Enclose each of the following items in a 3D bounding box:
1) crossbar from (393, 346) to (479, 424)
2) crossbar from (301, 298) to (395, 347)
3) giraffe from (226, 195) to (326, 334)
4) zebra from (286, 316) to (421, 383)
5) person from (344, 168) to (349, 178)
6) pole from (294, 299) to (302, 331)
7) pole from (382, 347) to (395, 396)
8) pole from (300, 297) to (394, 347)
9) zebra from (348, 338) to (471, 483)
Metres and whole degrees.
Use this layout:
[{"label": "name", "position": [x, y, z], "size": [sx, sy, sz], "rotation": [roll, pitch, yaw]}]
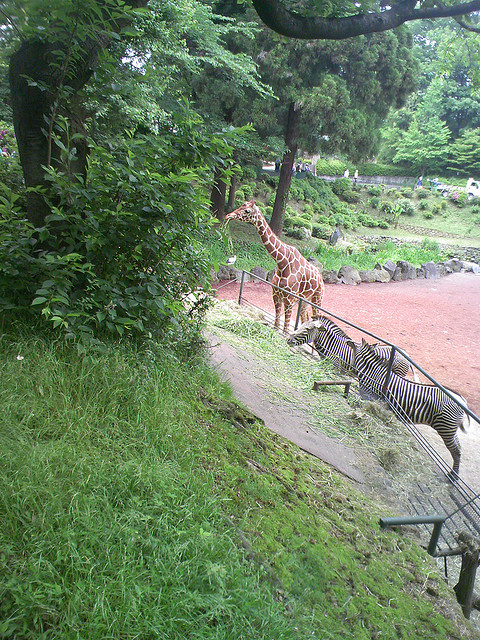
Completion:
[{"label": "crossbar", "position": [2.441, 0.819, 6.346], "size": [1.647, 0.158, 0.078], "rotation": [42, -38, -19]}, {"label": "crossbar", "position": [1.797, 0.045, 8.475], "size": [0.071, 0.069, 1.898], "rotation": [-35, 47, -22]}, {"label": "giraffe", "position": [0.644, -0.829, 8.246], "size": [1.483, 1.965, 3.247], "rotation": [10, 11, 6]}, {"label": "zebra", "position": [1.375, 0.521, 6.104], "size": [1.749, 0.956, 0.363], "rotation": [9, 8, -5]}, {"label": "person", "position": [7.993, -11.215, 38.591], "size": [0.228, 0.697, 1.224], "rotation": [12, 11, 14]}, {"label": "pole", "position": [0.805, -0.070, 7.121], "size": [0.056, 0.523, 0.058], "rotation": [10, 8, 16]}, {"label": "pole", "position": [1.535, 0.550, 5.347], "size": [0.070, 0.522, 0.068], "rotation": [14, 0, -36]}, {"label": "pole", "position": [1.773, 0.039, 8.460], "size": [1.717, 0.064, 0.062], "rotation": [34, -5, 16]}, {"label": "zebra", "position": [1.695, 0.851, 5.342], "size": [1.343, 1.037, 0.333], "rotation": [17, 14, 35]}]
